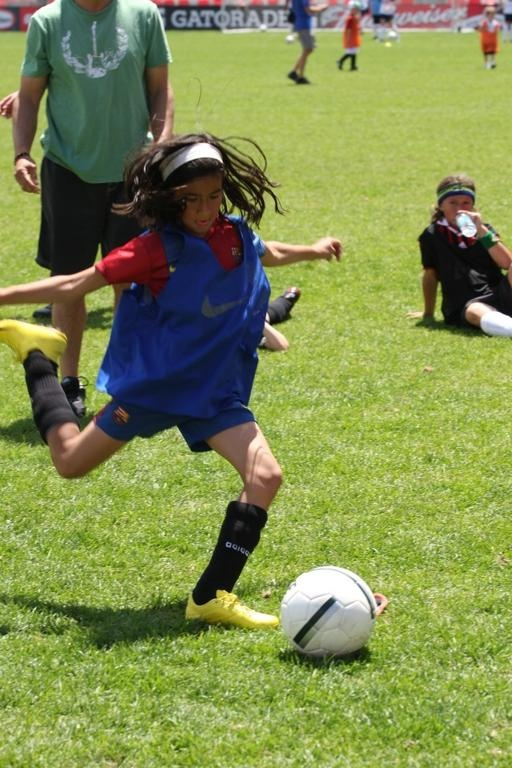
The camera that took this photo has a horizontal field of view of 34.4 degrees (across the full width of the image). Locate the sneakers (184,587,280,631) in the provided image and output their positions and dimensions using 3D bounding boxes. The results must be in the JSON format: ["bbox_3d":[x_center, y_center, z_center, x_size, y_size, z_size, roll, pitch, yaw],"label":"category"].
[{"bbox_3d":[-0.075,0.626,2.298,0.308,0.106,0.094,4,-3,-4],"label":"sneakers"}]

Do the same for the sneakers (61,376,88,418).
[{"bbox_3d":[-0.758,0.059,3.417,0.064,0.082,0.188,-18,64,-34],"label":"sneakers"}]

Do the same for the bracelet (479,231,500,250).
[{"bbox_3d":[1.390,-0.853,4.915,0.106,0.082,0.107,-29,6,8],"label":"bracelet"}]

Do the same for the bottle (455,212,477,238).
[{"bbox_3d":[1.238,-0.931,4.849,0.132,0.146,0.161,8,12,11],"label":"bottle"}]

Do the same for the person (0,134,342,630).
[{"bbox_3d":[-0.233,-0.068,2.471,0.774,1.332,0.786,7,13,2],"label":"person"}]

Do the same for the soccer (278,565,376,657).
[{"bbox_3d":[0.179,0.608,2.193,0.261,0.242,0.268,1,-17,33],"label":"soccer"}]
